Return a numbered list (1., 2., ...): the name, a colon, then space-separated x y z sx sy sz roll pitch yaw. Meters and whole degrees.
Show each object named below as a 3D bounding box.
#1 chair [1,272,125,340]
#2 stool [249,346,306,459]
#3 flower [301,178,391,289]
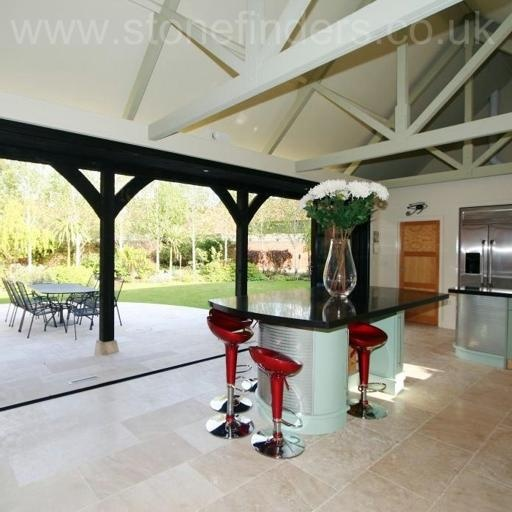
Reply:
1. chair: -3.302 0.781 6.512 1.351 0.899 2.182 -2 4 -40
2. stool: 0.147 1.010 2.831 0.379 0.685 0.384 -1 4 -19
3. flower: 0.726 -0.205 3.775 1.006 1.236 0.896 -1 0 -3
